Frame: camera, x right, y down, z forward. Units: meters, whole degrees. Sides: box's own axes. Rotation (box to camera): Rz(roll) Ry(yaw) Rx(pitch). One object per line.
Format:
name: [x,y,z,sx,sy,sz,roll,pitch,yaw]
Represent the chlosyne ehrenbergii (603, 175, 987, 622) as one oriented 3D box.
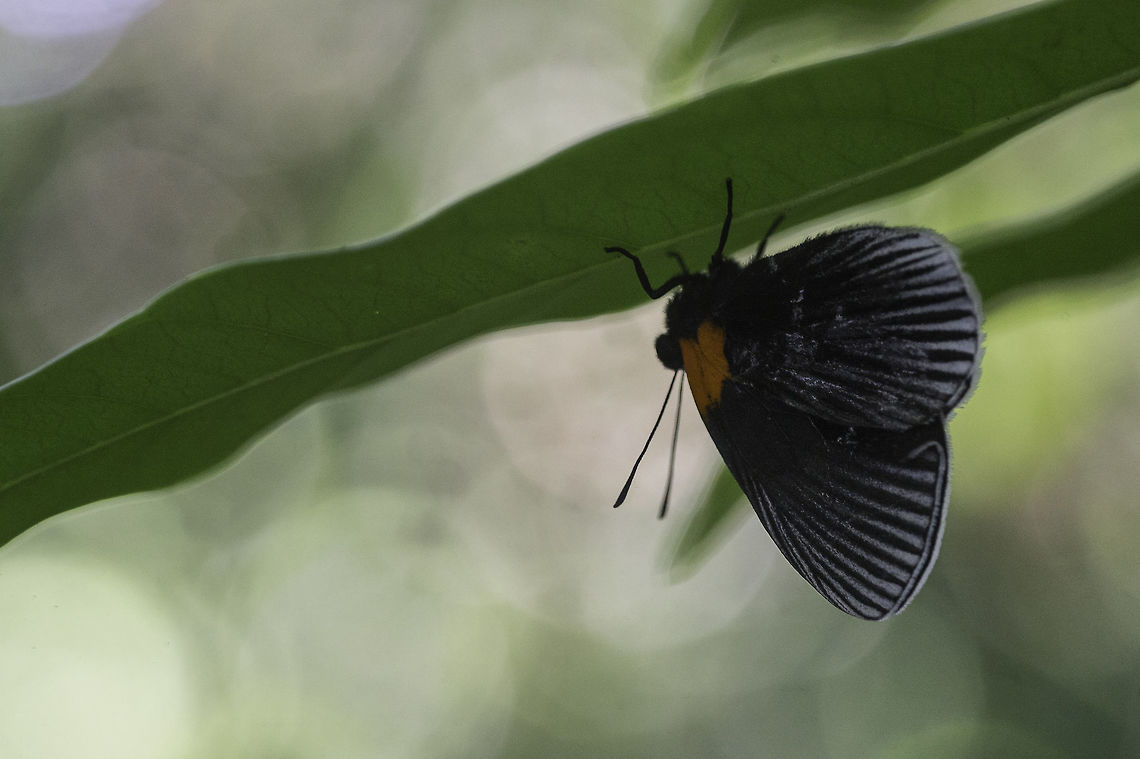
chlosyne ehrenbergii: [0.195,0.000,1.242,0.338,0.212,0.343,17,82,39]
